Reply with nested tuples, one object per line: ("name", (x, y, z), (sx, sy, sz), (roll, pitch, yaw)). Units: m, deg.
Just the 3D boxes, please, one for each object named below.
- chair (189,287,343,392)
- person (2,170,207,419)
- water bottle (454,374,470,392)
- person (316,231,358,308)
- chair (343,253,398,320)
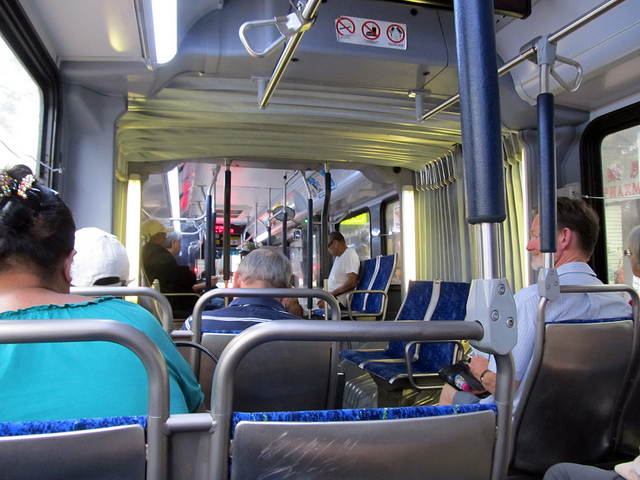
("chair", (-0.273, 0.437, 2.479), (0.689, 0.657, 0.525), (2, 19, -6))
("person", (-0.634, 0.129, 1.314), (0.470, 0.334, 0.768), (4, 8, -22))
("water bottle", (0.722, 0.725, 2.482), (0.050, 0.055, 0.085), (1, 21, -15))
("person", (0.265, 0.404, 6.856), (0.696, 1.259, 0.815), (5, -24, -5))
("chair", (0.440, 0.710, 6.578), (0.773, 1.012, 1.453), (1, -5, -11))
